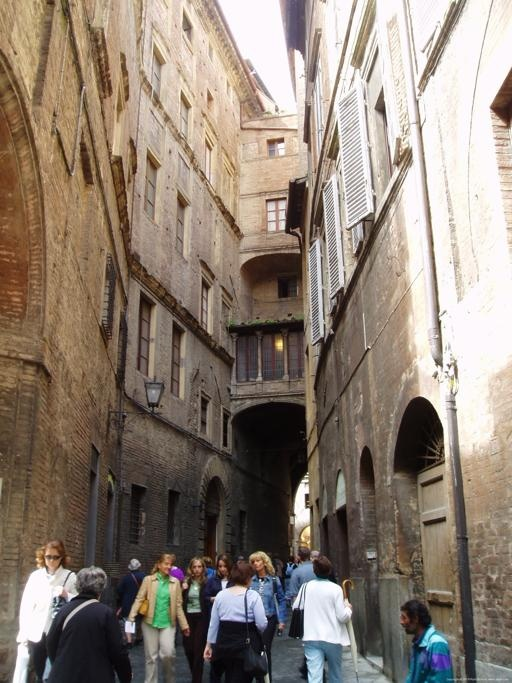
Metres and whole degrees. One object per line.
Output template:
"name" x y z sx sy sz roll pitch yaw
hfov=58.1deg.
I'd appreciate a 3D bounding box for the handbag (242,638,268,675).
"handbag" -0.021 2.147 3.121 0.066 0.232 0.196 -16 -44 14
